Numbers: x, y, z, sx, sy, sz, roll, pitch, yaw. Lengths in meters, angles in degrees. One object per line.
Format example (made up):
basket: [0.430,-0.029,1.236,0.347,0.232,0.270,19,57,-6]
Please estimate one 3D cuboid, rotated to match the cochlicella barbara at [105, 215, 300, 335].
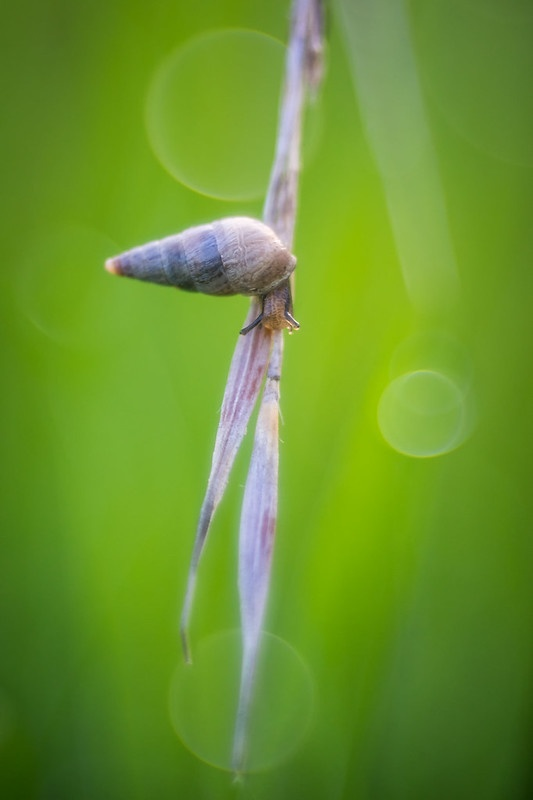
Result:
cochlicella barbara: [-0.034,-0.076,0.551,0.104,0.059,0.072,3,6,-3]
